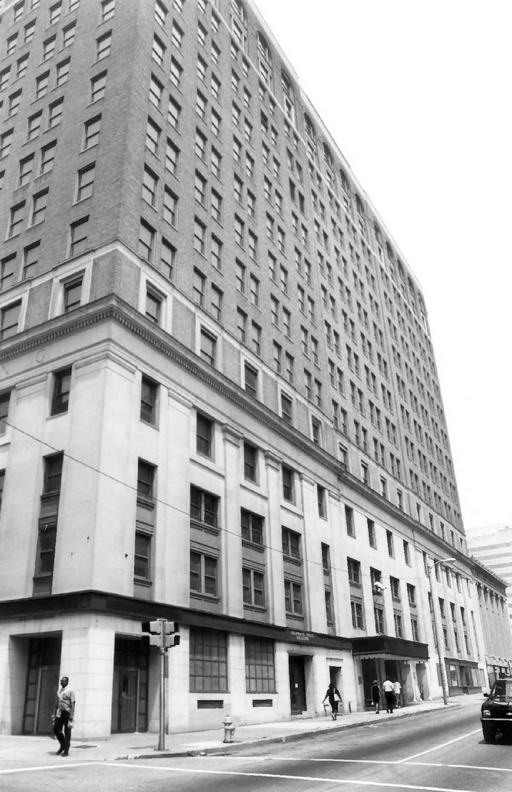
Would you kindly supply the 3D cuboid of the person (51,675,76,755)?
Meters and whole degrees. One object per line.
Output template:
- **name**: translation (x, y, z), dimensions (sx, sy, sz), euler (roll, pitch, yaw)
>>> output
- **person**: translation (-4.416, 7.358, 12.488), dimensions (0.405, 1.566, 2.271), euler (5, -29, -17)
